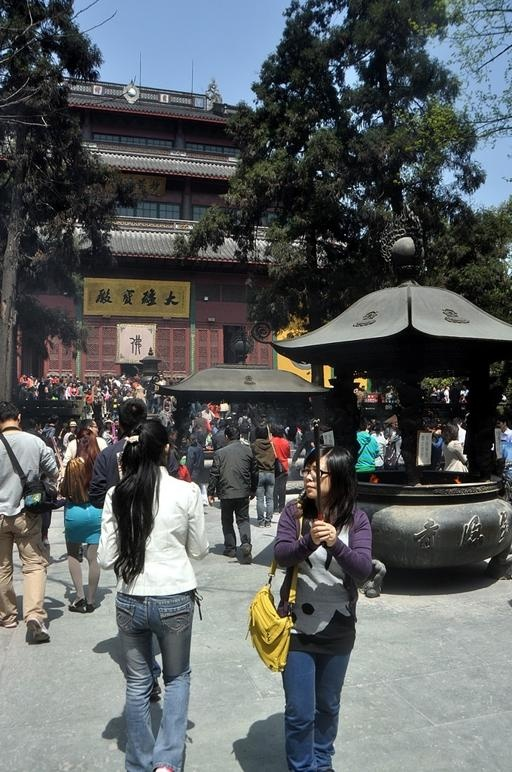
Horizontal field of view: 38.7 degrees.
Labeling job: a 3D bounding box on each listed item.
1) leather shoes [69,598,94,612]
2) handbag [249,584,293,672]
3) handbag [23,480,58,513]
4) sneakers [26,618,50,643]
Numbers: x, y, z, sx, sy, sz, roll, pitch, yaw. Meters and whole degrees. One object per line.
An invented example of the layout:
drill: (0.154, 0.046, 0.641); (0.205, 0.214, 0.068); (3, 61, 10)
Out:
leather shoes: (-1.412, 1.735, 5.856); (0.095, 0.080, 0.190); (-2, 0, -38)
handbag: (0.055, 1.023, 3.027); (0.155, 0.385, 0.239); (0, -1, -16)
handbag: (-1.566, 0.790, 5.309); (0.260, 0.243, 0.181); (-5, -8, -20)
sneakers: (-1.529, 1.716, 5.106); (0.111, 0.127, 0.273); (-7, -44, -8)
